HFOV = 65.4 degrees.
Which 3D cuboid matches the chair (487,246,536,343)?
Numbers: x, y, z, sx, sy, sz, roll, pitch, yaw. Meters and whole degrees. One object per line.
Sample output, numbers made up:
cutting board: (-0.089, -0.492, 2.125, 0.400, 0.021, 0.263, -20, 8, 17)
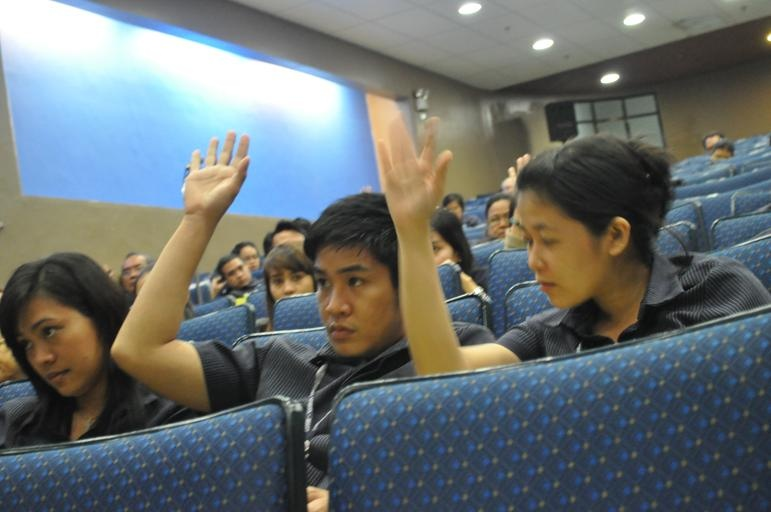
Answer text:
chair: (0.442, 0.180, 2.124, 0.191, 0.350, 0.214, 3, -33, 13)
